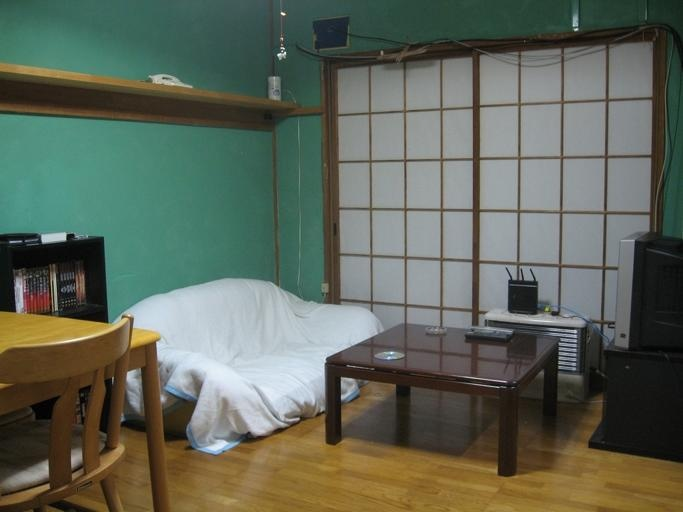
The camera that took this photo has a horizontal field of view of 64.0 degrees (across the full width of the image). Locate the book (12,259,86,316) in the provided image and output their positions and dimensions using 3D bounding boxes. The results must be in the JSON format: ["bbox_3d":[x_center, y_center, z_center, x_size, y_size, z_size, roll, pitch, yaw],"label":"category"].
[{"bbox_3d":[-1.726,0.197,3.290,0.074,0.298,0.456,4,11,28],"label":"book"}]

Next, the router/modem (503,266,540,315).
[{"bbox_3d":[1.395,0.275,4.294,0.266,0.395,0.269,2,-1,32],"label":"router/modem"}]

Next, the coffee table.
[{"bbox_3d":[0.686,0.852,3.613,1.364,0.539,1.082,3,10,22],"label":"coffee table"}]
